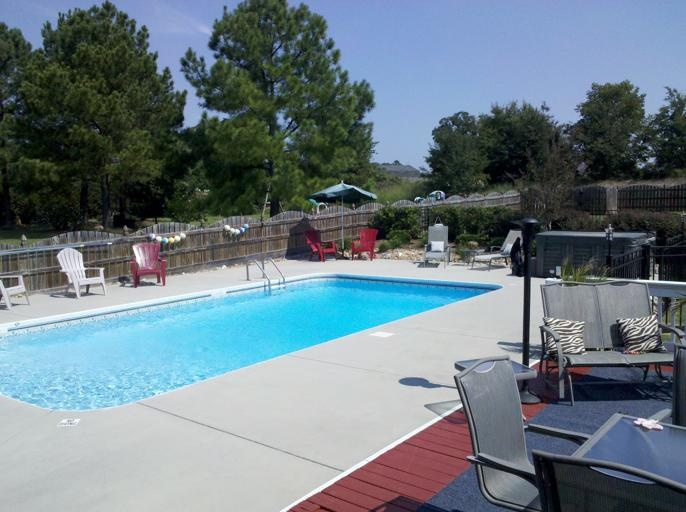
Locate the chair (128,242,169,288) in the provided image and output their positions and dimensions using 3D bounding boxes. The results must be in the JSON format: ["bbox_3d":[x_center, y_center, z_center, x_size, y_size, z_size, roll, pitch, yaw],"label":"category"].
[{"bbox_3d":[-4.877,0.309,14.631,0.792,0.957,1.058,-2,-3,-25],"label":"chair"}]

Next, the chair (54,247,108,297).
[{"bbox_3d":[-6.007,0.395,13.364,1.038,1.143,0.794,-3,4,40],"label":"chair"}]

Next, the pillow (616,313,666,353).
[{"bbox_3d":[3.546,0.933,6.938,0.464,0.378,0.412,-2,8,14],"label":"pillow"}]

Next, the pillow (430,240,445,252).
[{"bbox_3d":[2.936,-0.289,18.052,0.328,0.328,0.117,0,-23,9],"label":"pillow"}]

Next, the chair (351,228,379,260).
[{"bbox_3d":[0.804,-0.422,20.129,0.804,1.223,1.139,2,6,16],"label":"chair"}]

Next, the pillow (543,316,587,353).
[{"bbox_3d":[2.638,0.971,6.811,0.496,0.368,0.751,-2,8,12],"label":"pillow"}]

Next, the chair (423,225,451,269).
[{"bbox_3d":[2.877,-0.317,18.074,0.788,1.167,1.211,-2,8,9],"label":"chair"}]

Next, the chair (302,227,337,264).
[{"bbox_3d":[-0.804,-0.372,20.185,0.909,1.149,1.217,-14,20,-42],"label":"chair"}]
